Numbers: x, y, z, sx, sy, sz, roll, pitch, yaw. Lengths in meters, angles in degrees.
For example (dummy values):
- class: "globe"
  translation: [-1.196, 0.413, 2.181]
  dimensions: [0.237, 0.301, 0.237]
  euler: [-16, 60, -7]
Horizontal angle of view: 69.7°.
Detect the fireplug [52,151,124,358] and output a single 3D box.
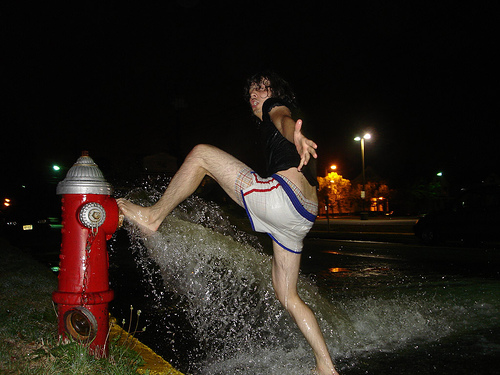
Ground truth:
- class: "fireplug"
  translation: [-1.145, 0.464, 2.547]
  dimensions: [0.457, 1.388, 0.263]
  euler: [3, -3, -26]
